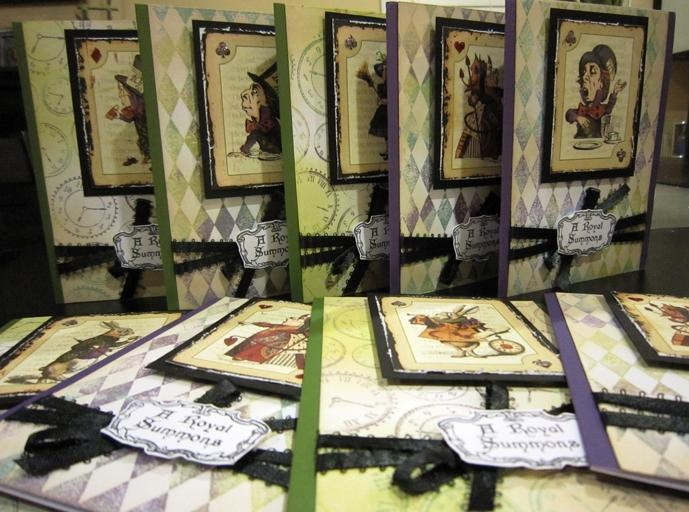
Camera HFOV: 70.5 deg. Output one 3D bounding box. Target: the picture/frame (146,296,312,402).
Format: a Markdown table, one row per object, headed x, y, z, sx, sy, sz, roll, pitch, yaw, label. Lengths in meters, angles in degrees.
| x | y | z | sx | sy | sz | roll | pitch | yaw | label |
| --- | --- | --- | --- | --- | --- | --- | --- | --- | --- |
| -0.150 | 0.144 | 0.852 | 0.254 | 0.038 | 0.270 | 3 | 17 | 16 | picture/frame |

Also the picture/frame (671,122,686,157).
| x | y | z | sx | sy | sz | roll | pitch | yaw | label |
| --- | --- | --- | --- | --- | --- | --- | --- | --- | --- |
| 1.098 | -0.388 | 1.607 | 0.084 | 0.108 | 0.008 | -10 | 17 | -30 | picture/frame |

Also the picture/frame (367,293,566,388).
| x | y | z | sx | sy | sz | roll | pitch | yaw | label |
| --- | --- | --- | --- | --- | --- | --- | --- | --- | --- |
| 0.191 | 0.131 | 0.825 | 0.297 | 0.046 | 0.245 | -1 | 17 | 2 | picture/frame |
